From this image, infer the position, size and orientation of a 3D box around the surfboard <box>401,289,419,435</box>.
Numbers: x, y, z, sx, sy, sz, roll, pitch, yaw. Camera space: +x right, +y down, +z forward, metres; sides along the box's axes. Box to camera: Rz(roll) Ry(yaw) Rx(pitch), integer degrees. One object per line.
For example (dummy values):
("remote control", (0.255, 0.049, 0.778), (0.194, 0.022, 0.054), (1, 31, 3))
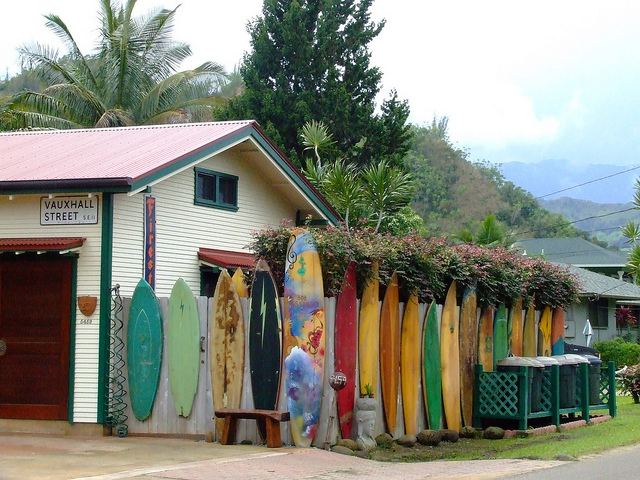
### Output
("surfboard", (1.675, 2.283, 15.823), (0.372, 2.561, 0.274), (0, -10, -4))

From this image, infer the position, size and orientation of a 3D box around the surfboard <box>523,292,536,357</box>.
("surfboard", (4.646, 1.960, 18.918), (0.300, 1.633, 0.110), (3, -47, 11))

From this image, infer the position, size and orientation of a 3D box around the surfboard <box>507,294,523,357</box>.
("surfboard", (4.237, 1.893, 18.342), (0.236, 1.165, 0.729), (-7, -12, 30))

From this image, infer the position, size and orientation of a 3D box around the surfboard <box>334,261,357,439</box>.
("surfboard", (0.443, 1.912, 14.843), (0.341, 3.068, 0.284), (3, -4, -15))

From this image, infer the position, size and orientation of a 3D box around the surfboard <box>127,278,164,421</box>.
("surfboard", (-3.220, 2.019, 15.621), (0.654, 2.897, 0.190), (5, 18, -1))

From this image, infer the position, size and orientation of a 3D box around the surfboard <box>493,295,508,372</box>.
("surfboard", (3.794, 1.931, 17.863), (0.213, 1.573, 0.581), (-10, -13, 41))

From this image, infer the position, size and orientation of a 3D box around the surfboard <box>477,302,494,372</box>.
("surfboard", (3.405, 1.961, 17.489), (0.186, 1.364, 0.679), (-7, -12, 30))

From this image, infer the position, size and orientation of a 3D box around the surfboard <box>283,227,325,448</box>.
("surfboard", (-0.270, 1.661, 14.810), (0.594, 3.546, 0.686), (0, -1, -14))

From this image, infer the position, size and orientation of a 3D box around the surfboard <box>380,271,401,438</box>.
("surfboard", (1.285, 2.065, 15.515), (0.241, 2.883, 0.412), (-2, -8, 38))

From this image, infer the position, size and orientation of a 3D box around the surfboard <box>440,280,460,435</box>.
("surfboard", (2.560, 2.234, 16.513), (0.292, 2.848, 0.651), (-8, -12, 35))

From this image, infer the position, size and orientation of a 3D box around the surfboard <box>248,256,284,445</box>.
("surfboard", (-0.920, 1.884, 14.792), (0.529, 3.213, 0.439), (-2, -2, 25))

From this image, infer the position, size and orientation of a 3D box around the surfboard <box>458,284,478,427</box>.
("surfboard", (2.961, 2.280, 16.923), (0.691, 2.715, 0.261), (7, -12, -38))

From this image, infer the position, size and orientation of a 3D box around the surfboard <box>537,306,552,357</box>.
("surfboard", (5.123, 2.084, 19.450), (0.222, 1.152, 0.974), (-6, -12, 26))

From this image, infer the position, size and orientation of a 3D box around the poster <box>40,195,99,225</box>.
("poster", (-4.740, -0.568, 16.142), (1.055, 0.611, 0.016), (-2, -17, -6))

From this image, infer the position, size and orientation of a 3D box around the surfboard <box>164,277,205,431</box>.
("surfboard", (-2.407, 2.033, 15.226), (0.692, 2.603, 0.344), (-7, -11, 31))

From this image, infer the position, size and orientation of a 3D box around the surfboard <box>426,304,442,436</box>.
("surfboard", (2.146, 2.448, 16.164), (0.276, 2.455, 0.133), (3, -5, -39))
